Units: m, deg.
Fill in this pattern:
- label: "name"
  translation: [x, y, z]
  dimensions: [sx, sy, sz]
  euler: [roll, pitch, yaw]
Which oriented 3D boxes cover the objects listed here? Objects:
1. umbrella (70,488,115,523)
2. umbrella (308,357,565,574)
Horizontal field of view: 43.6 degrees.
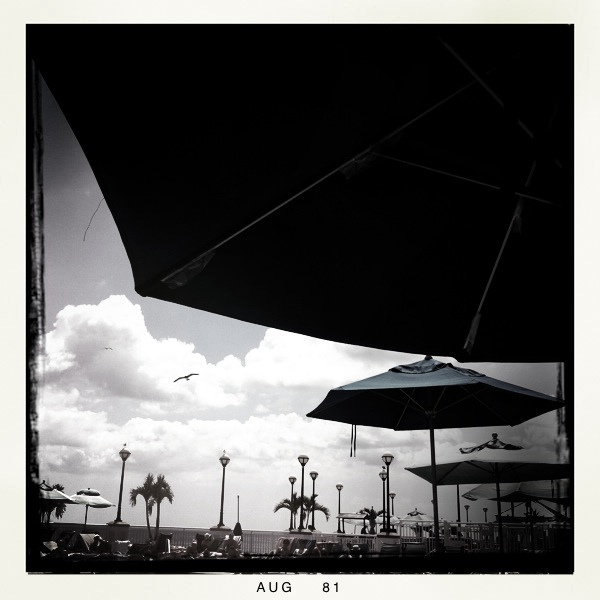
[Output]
- label: "umbrella"
  translation: [-2.077, 2.021, 7.477]
  dimensions: [0.266, 0.279, 0.301]
  euler: [6, -32, -9]
- label: "umbrella"
  translation: [1.392, 1.495, 8.095]
  dimensions: [1.856, 1.776, 1.937]
  euler: [-2, 4, 16]
